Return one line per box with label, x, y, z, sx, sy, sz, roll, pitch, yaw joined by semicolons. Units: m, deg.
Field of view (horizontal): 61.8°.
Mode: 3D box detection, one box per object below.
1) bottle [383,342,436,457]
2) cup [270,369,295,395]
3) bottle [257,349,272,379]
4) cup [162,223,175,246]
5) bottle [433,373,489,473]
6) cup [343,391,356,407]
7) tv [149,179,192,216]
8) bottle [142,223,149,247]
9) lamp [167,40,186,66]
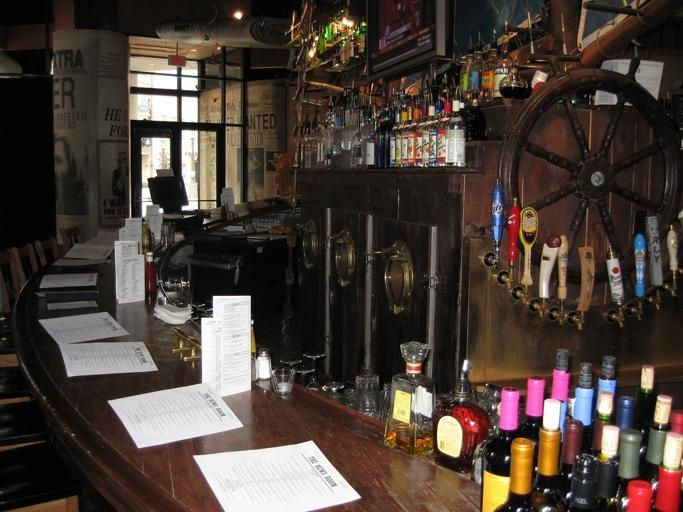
bottle;0.214;0.436;1.770;0.149;0.293;0.184;4;9;6
cup;-0.215;0.451;2.063;0.077;0.073;0.078;3;4;0
bottle;-0.294;0.413;2.164;0.058;0.108;0.111;1;9;-11
cup;-1.206;-0.151;3.951;0.075;0.162;0.177;0;10;-19
bottle;0.338;0.461;1.679;0.143;0.328;0.081;14;19;31
cup;0.040;0.775;3.079;0.062;0.070;0.067;2;-2;0
tv;-2.440;-0.869;8.055;0.570;0.503;0.420;-3;11;-34
bottle;-1.357;-0.146;3.948;0.049;0.157;0.105;-1;10;-20
lamp;-3.137;-3.819;10.786;0.287;0.543;1.382;0;10;-18
